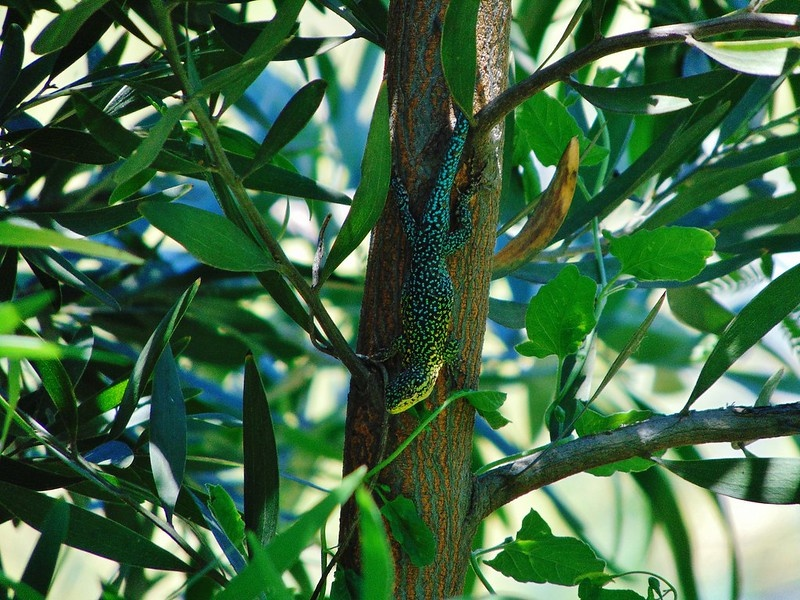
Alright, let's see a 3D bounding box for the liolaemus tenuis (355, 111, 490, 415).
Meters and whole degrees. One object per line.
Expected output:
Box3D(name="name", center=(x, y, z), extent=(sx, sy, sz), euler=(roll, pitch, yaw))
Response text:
Box3D(name="liolaemus tenuis", center=(0.066, -0.074, 3.125), extent=(0.236, 0.103, 0.734), euler=(8, -85, 13))
